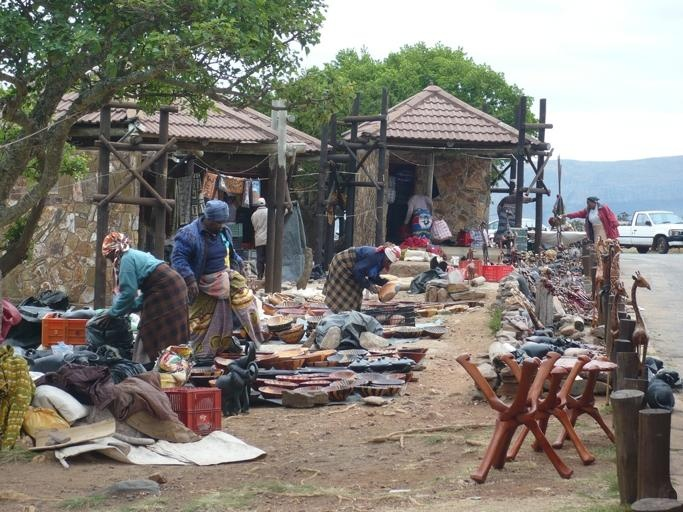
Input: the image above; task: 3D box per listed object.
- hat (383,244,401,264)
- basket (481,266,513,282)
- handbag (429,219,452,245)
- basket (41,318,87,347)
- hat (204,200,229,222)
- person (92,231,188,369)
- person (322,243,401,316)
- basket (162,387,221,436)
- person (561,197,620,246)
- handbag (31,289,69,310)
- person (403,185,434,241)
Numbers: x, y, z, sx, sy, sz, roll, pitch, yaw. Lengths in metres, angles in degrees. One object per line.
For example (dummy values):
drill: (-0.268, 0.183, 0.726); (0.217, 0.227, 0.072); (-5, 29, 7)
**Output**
hat: (0.794, -0.050, 13.724); (0.202, 0.207, 0.262); (-25, 23, -13)
basket: (3.244, 0.352, 19.092); (0.655, 0.367, 0.448); (-1, 0, 9)
handbag: (2.569, -0.657, 23.899); (0.610, 0.606, 0.332); (-11, -2, -40)
basket: (-3.543, 0.949, 11.456); (0.599, 0.327, 0.365); (0, -7, -2)
hat: (-1.575, -0.586, 11.541); (0.290, 0.243, 0.242); (2, 5, 41)
person: (-2.293, 0.515, 10.635); (0.449, 1.574, 0.897); (0, 0, 43)
person: (0.316, 0.392, 14.229); (1.174, 1.173, 0.641); (11, 11, 12)
basket: (-1.559, 1.652, 9.914); (0.492, 0.337, 0.504); (0, 3, 4)
person: (5.161, -0.758, 18.505); (0.714, 0.936, 1.472); (-1, 0, 3)
handbag: (-4.552, 0.678, 14.158); (0.494, 0.418, 0.197); (-12, 3, 23)
person: (2.060, -1.169, 24.228); (0.768, 1.424, 1.572); (-1, 0, 0)
